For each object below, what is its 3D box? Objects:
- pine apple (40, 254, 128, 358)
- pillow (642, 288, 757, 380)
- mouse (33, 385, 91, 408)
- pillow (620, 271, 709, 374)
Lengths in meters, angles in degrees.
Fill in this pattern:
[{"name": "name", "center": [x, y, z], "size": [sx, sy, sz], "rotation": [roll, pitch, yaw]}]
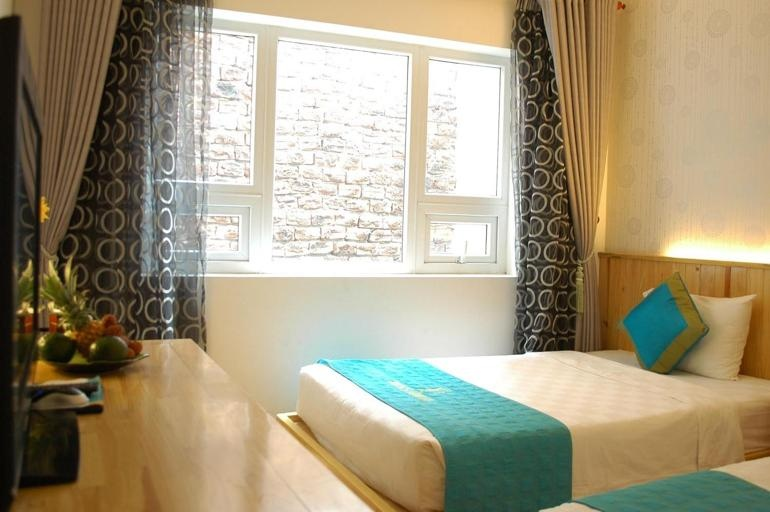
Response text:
[{"name": "pine apple", "center": [-1.349, 0.199, 2.429], "size": [0.231, 0.515, 0.264], "rotation": [-27, -9, -12]}, {"name": "pillow", "center": [2.035, 0.502, 3.586], "size": [0.415, 0.485, 0.556], "rotation": [3, 3, 0]}, {"name": "mouse", "center": [-0.901, 0.387, 1.516], "size": [0.095, 0.035, 0.063], "rotation": [0, -5, -15]}, {"name": "pillow", "center": [1.837, 0.415, 3.613], "size": [0.372, 0.609, 0.494], "rotation": [4, 3, -1]}]
